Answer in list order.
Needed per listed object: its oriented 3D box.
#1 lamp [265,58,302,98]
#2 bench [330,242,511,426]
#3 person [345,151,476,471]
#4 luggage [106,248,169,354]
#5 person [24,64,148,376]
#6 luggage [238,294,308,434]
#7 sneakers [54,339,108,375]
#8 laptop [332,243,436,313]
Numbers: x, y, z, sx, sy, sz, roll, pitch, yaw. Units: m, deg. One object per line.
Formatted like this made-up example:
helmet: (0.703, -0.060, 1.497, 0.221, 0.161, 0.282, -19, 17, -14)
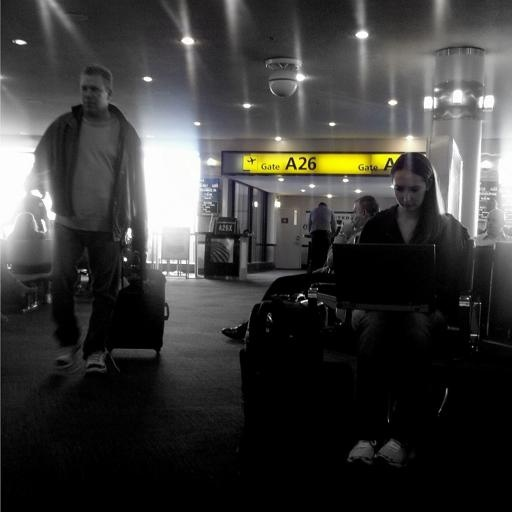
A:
lamp: (0.425, -2.716, 7.734, 0.513, 0.616, 0.554, -1, 11, -13)
bench: (0.497, 0.296, 1.917, 0.521, 0.870, 0.602, 1, -16, 5)
person: (0.543, 0.116, 1.813, 0.430, 1.051, 0.727, 0, 0, 24)
luggage: (-0.721, 0.310, 3.454, 0.457, 0.669, 0.759, 1, 6, -3)
person: (-0.932, -0.207, 2.802, 0.624, 1.681, 0.284, 0, 0, -16)
luggage: (0.075, 0.388, 1.943, 0.267, 0.424, 0.354, 0, 0, -2)
sneakers: (-0.957, 0.568, 2.799, 0.117, 0.175, 0.381, 2, -20, -4)
laptop: (0.439, 0.067, 1.717, 0.285, 0.228, 0.227, 1, 2, 13)
